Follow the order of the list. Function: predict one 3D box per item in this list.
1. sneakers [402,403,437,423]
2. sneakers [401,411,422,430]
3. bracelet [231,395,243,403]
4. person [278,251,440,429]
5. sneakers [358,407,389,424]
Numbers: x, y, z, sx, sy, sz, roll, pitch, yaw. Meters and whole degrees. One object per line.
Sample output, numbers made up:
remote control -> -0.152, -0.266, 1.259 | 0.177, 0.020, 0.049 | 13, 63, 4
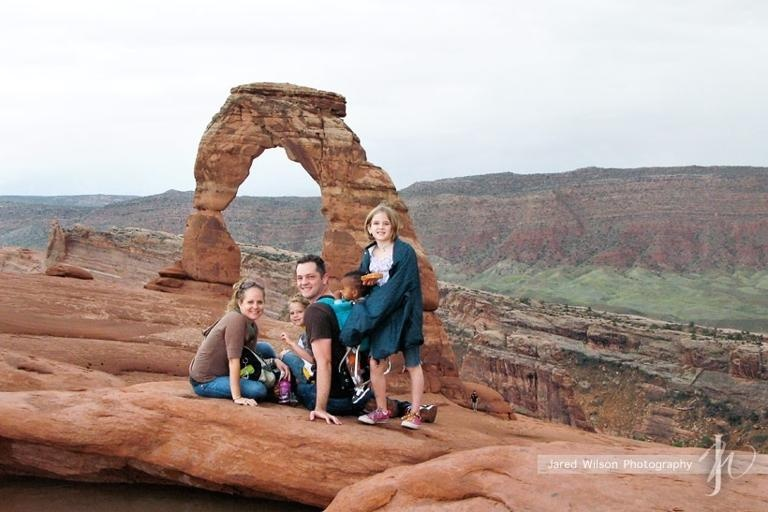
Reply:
sneakers -> 0.490, 2.147, 7.682 | 0.262, 0.252, 0.674 | -3, -16, 16
sneakers -> 0.336, 2.067, 7.057 | 0.174, 0.125, 0.328 | 0, -16, 12
bracelet -> -1.703, 1.670, 6.537 | 0.144, 0.076, 0.051 | 2, -8, 21
person -> -0.643, 0.986, 6.961 | 1.143, 1.995, 0.743 | 6, -8, 1
sneakers -> -0.114, 1.966, 6.922 | 0.396, 0.199, 0.137 | 8, -7, -22
